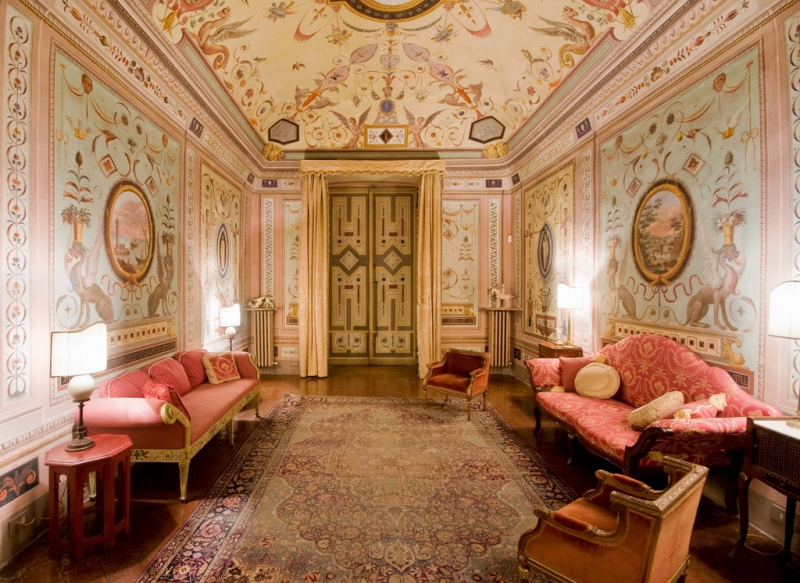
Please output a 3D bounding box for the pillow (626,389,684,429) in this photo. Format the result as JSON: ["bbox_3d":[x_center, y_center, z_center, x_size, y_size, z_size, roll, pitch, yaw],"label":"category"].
[{"bbox_3d":[2.448,1.047,4.951,0.381,0.130,0.382,-19,-15,-49],"label":"pillow"}]

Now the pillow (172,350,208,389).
[{"bbox_3d":[-2.580,0.960,6.294,0.131,0.380,0.380,-19,-5,18],"label":"pillow"}]

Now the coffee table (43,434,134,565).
[{"bbox_3d":[-2.736,1.794,4.458,0.631,0.785,0.700,2,-4,-30],"label":"coffee table"}]

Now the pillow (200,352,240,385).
[{"bbox_3d":[-2.283,0.956,6.468,0.107,0.365,0.373,-29,-9,24],"label":"pillow"}]

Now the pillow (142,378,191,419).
[{"bbox_3d":[-2.313,0.971,5.039,0.434,0.109,0.483,4,7,29],"label":"pillow"}]

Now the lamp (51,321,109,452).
[{"bbox_3d":[-2.764,0.825,4.462,0.404,1.105,0.509,-1,13,-5],"label":"lamp"}]

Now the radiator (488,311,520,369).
[{"bbox_3d":[1.753,0.755,9.116,0.760,1.446,0.381,2,38,11],"label":"radiator"}]

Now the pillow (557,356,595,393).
[{"bbox_3d":[2.099,0.998,6.098,0.346,0.384,0.129,-3,-8,43],"label":"pillow"}]

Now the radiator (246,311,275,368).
[{"bbox_3d":[-2.357,0.785,8.966,0.434,0.993,0.211,-1,1,11],"label":"radiator"}]

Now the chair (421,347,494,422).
[{"bbox_3d":[0.800,1.260,7.171,0.833,0.847,0.633,4,2,44],"label":"chair"}]

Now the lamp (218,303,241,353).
[{"bbox_3d":[-2.500,0.609,7.545,0.263,0.795,0.280,-2,1,25],"label":"lamp"}]

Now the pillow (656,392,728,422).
[{"bbox_3d":[2.733,1.075,4.649,0.613,0.197,0.244,-3,14,-12],"label":"pillow"}]
